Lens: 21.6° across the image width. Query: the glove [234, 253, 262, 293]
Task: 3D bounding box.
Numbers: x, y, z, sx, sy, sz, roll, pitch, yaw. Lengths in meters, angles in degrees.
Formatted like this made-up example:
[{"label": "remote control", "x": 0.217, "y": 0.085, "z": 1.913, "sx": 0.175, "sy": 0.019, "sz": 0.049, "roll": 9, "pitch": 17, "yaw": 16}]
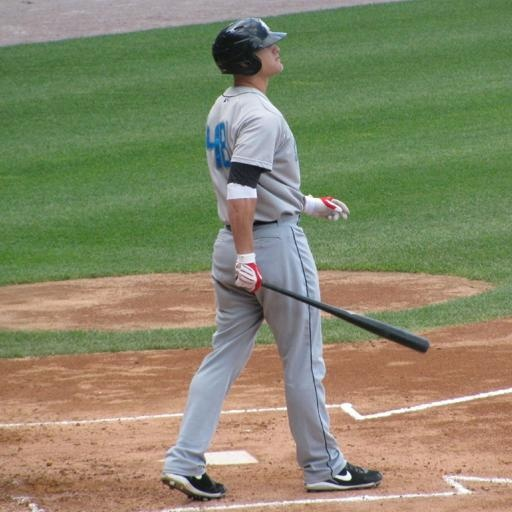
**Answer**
[{"label": "glove", "x": -0.107, "y": 0.192, "z": 15.700, "sx": 0.304, "sy": 0.423, "sz": 0.177, "roll": 8, "pitch": 14, "yaw": 28}]
